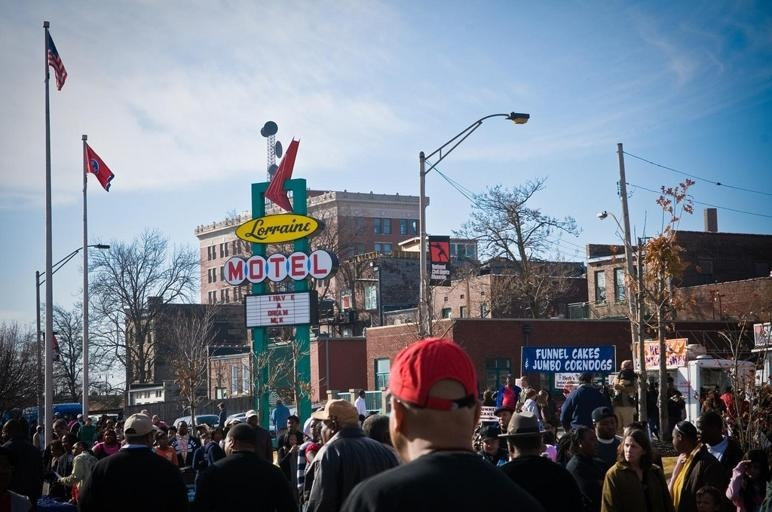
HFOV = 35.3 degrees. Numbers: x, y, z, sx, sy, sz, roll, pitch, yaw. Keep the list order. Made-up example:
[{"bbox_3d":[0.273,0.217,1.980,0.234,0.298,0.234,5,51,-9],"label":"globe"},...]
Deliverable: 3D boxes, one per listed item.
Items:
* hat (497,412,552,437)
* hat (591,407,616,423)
[{"bbox_3d":[3.374,4.185,30.132,0.732,0.322,0.831,-3,-18,-7],"label":"hat"},{"bbox_3d":[5.878,4.222,32.671,0.571,0.455,0.413,-30,-17,24],"label":"hat"}]
